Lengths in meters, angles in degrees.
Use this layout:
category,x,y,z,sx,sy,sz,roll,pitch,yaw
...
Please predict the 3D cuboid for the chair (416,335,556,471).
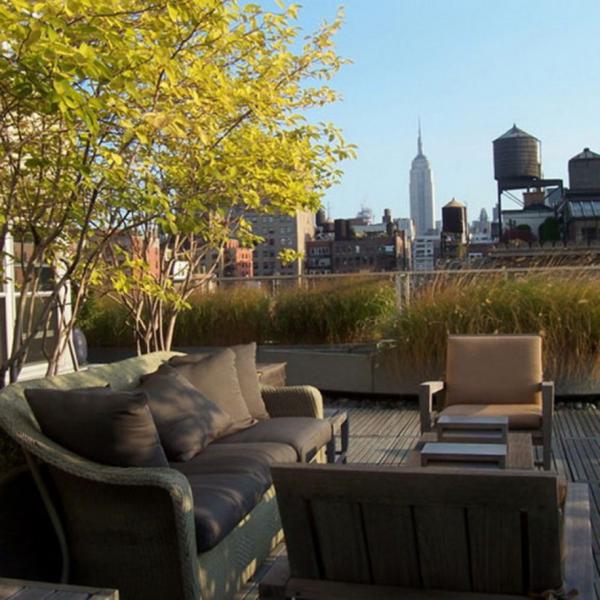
category,x,y,z,sx,sy,sz,roll,pitch,yaw
chair,1.274,0.775,3.938,0.792,1.222,0.704,-1,-9,17
